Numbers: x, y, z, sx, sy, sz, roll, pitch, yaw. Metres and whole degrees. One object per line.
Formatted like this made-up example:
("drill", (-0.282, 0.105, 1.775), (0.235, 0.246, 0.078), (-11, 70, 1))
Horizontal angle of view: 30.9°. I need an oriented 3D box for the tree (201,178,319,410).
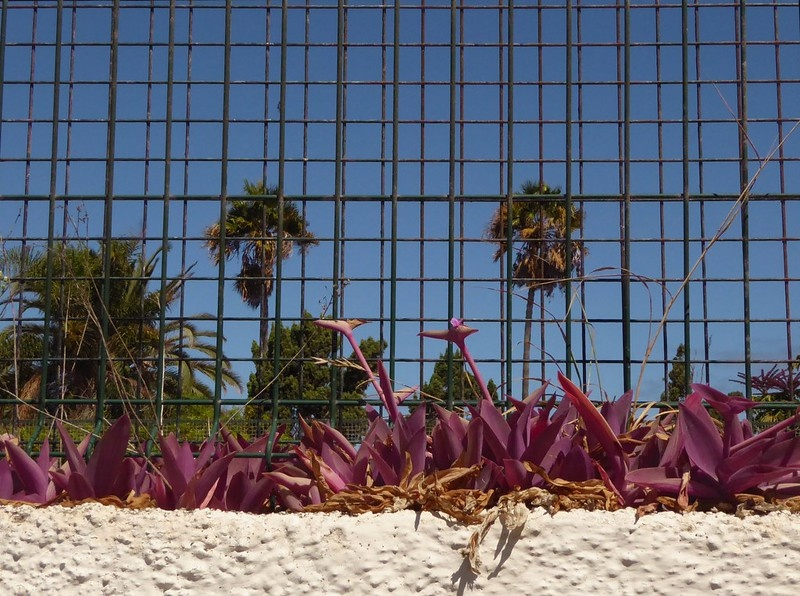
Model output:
("tree", (-2.423, -0.710, 24.547), (1.451, 2.770, 1.508), (6, 19, 22))
